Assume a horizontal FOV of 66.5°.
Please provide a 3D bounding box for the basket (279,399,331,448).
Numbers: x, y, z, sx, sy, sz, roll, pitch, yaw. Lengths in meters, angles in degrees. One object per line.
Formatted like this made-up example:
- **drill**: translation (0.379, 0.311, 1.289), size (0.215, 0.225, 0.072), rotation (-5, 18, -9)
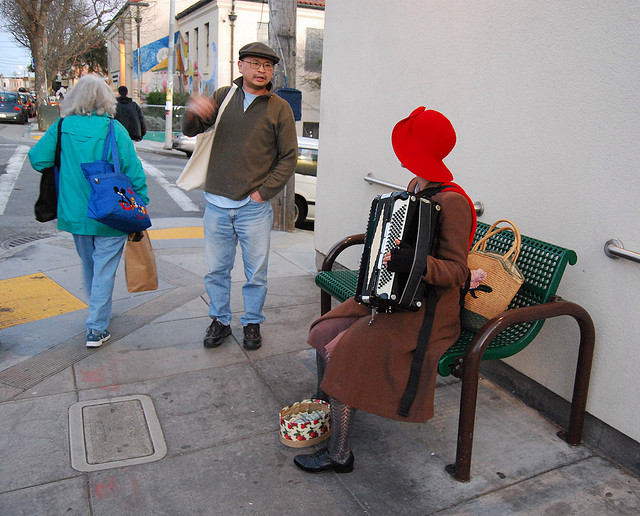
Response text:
- **basket**: translation (-0.058, 1.023, 3.060), size (0.272, 0.125, 0.284), rotation (9, 15, -29)

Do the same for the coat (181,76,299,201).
- **coat**: translation (-0.632, -0.934, 3.994), size (0.978, 0.991, 0.714), rotation (20, 16, 6)

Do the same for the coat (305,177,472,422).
- **coat**: translation (0.346, 0.205, 2.541), size (0.781, 1.173, 0.519), rotation (8, 21, 17)

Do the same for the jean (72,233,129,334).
- **jean**: translation (-1.801, 0.228, 4.142), size (0.397, 0.928, 0.426), rotation (-8, 22, -25)

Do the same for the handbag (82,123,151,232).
- **handbag**: translation (-1.610, -0.604, 3.789), size (0.401, 0.823, 0.409), rotation (19, 26, 39)

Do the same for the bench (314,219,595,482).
- **bench**: translation (0.835, 0.415, 3.546), size (1.076, 1.226, 1.942), rotation (-6, 17, -18)

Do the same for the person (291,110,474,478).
- **person**: translation (0.367, 0.254, 2.615), size (0.748, 2.000, 0.654), rotation (11, 22, 22)

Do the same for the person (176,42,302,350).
- **person**: translation (-0.671, -0.467, 4.010), size (0.951, 2.445, 0.700), rotation (1, 20, -3)
